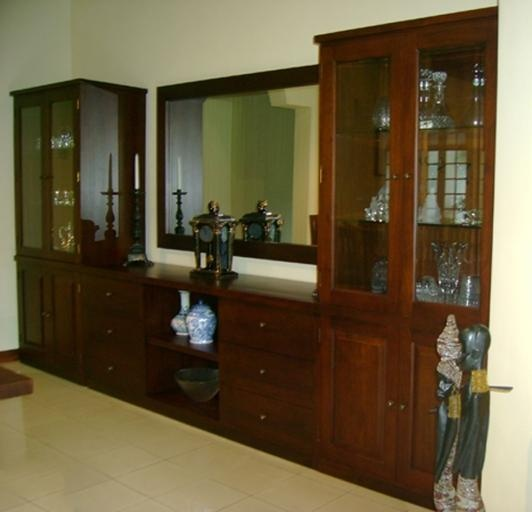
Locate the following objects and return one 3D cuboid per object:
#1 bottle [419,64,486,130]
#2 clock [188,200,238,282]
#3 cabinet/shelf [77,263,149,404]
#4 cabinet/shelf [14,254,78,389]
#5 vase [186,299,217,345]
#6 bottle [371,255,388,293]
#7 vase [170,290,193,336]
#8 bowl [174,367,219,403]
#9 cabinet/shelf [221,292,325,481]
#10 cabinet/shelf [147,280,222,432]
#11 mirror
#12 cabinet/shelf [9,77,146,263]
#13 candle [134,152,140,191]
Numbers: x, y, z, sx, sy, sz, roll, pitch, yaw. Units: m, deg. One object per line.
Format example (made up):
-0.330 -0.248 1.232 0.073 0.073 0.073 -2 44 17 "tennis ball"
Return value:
0.675 -0.582 1.915 0.235 0.232 0.025 3 5 41 "bottle"
-0.321 -0.101 3.165 0.233 0.459 0.164 3 4 37 "clock"
-0.933 0.506 3.528 0.692 0.793 0.377 -1 1 34 "cabinet/shelf"
-1.588 0.470 3.835 0.730 0.813 0.316 5 6 39 "cabinet/shelf"
-0.375 0.384 3.063 0.174 0.239 0.171 -1 4 -15 "vase"
0.464 0.083 2.188 0.081 0.165 0.084 3 -1 0 "bottle"
-0.501 0.349 3.226 0.146 0.279 0.145 1 2 -32 "vase"
-0.412 0.797 3.130 0.260 0.203 0.362 -1 4 -8 "bowl"
0.062 0.614 2.930 0.636 1.020 0.591 4 7 40 "cabinet/shelf"
-0.605 0.603 3.577 0.218 0.751 0.710 -1 -12 4 "cabinet/shelf"
-0.144 -0.573 3.211 1.151 1.135 0.053 4 4 41 "mirror"
-1.311 -0.616 3.761 1.110 1.758 0.636 4 4 34 "cabinet/shelf"
-0.919 -0.604 3.740 0.041 0.271 0.226 -1 4 -13 "candle"
